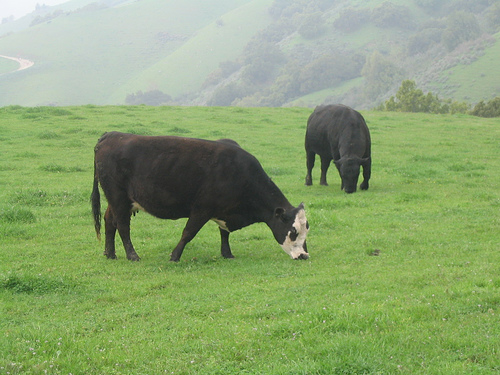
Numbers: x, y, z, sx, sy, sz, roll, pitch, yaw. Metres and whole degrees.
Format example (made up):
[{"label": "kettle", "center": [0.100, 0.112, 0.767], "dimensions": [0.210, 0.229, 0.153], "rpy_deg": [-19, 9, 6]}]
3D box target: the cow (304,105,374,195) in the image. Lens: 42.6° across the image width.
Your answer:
[{"label": "cow", "center": [3.129, -1.441, 22.934], "dimensions": [1.901, 2.827, 3.800], "rpy_deg": [-4, 11, -9]}]
